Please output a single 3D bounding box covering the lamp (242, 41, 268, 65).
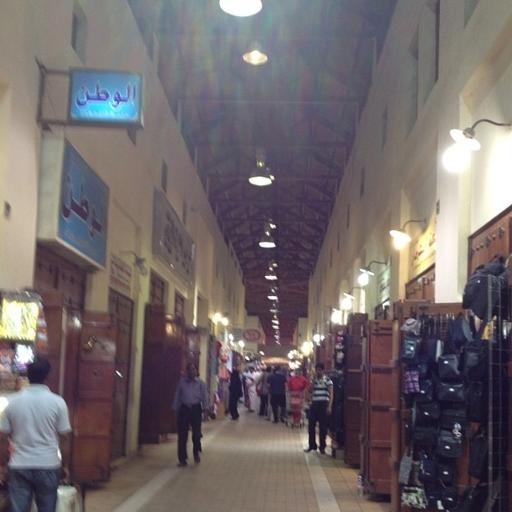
[{"bbox_3d":[0.019,-3.845,10.067,0.401,0.364,0.480,6,-18,-20],"label":"lamp"}]

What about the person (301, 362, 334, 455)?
[{"bbox_3d":[1.240,2.984,10.516,0.527,1.710,1.056,0,-14,0],"label":"person"}]

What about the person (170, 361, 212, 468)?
[{"bbox_3d":[-1.064,2.635,8.839,0.427,1.580,0.589,-9,-15,35],"label":"person"}]
